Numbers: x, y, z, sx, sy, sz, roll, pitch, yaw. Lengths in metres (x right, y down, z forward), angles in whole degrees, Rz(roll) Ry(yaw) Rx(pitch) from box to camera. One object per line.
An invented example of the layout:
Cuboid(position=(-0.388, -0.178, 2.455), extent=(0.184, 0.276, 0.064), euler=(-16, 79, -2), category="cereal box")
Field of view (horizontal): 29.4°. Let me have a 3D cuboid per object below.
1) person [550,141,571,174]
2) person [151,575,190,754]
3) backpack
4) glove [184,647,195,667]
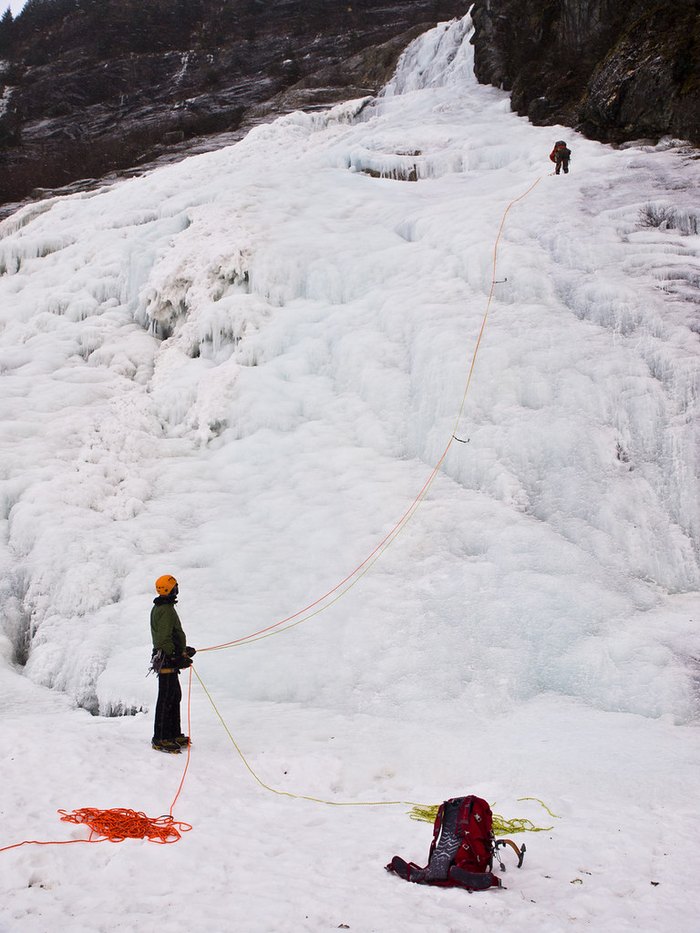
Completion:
Cuboid(position=(3.539, -5.140, 22.374), extent=(0.336, 0.534, 0.710), euler=(3, 14, 8), category="person")
Cuboid(position=(-1.828, 2.010, 13.634), extent=(0.440, 1.774, 0.589), euler=(-1, 16, -7), category="person")
Cuboid(position=(1.008, 3.401, 11.925), extent=(0.445, 0.666, 0.667), euler=(19, 1, -31), category="backpack")
Cuboid(position=(-1.658, 1.963, 13.727), extent=(0.180, 0.189, 0.089), euler=(7, -15, -7), category="glove")
